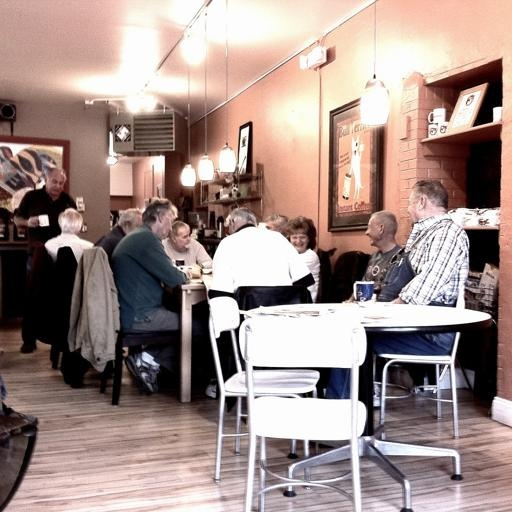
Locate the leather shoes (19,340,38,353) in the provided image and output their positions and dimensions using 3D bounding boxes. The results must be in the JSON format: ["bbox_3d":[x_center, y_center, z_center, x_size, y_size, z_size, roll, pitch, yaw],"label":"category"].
[{"bbox_3d":[-2.238,0.907,4.990,0.077,0.117,0.167,2,5,-7],"label":"leather shoes"}]

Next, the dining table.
[{"bbox_3d":[0.495,0.396,1.979,0.818,0.560,0.811,-2,-3,23],"label":"dining table"}]

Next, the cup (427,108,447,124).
[{"bbox_3d":[1.247,-0.962,3.455,0.140,0.135,0.089,0,2,0],"label":"cup"}]

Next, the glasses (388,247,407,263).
[{"bbox_3d":[0.950,0.007,3.381,0.090,0.046,0.126,-24,27,32],"label":"glasses"}]

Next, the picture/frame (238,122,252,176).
[{"bbox_3d":[-0.131,-1.347,6.340,0.190,0.666,0.500,0,3,-3],"label":"picture/frame"}]

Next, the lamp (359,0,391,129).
[{"bbox_3d":[0.900,-1.498,3.754,0.200,1.082,0.597,1,4,15],"label":"lamp"}]

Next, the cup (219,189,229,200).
[{"bbox_3d":[-0.407,-0.827,6.570,0.122,0.168,0.347,-1,3,-4],"label":"cup"}]

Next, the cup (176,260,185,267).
[{"bbox_3d":[-0.604,0.058,4.084,0.067,0.065,0.059,0,4,-13],"label":"cup"}]

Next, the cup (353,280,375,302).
[{"bbox_3d":[0.504,0.165,2.398,0.111,0.112,0.090,1,0,3],"label":"cup"}]

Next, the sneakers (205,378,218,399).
[{"bbox_3d":[-0.299,0.928,3.516,0.058,0.071,0.170,3,1,-6],"label":"sneakers"}]

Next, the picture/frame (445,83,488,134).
[{"bbox_3d":[1.377,-0.970,3.279,0.171,0.298,0.229,-2,4,-21],"label":"picture/frame"}]

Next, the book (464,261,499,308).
[{"bbox_3d":[1.486,0.200,3.302,0.166,0.304,0.311,0,3,-9],"label":"book"}]
